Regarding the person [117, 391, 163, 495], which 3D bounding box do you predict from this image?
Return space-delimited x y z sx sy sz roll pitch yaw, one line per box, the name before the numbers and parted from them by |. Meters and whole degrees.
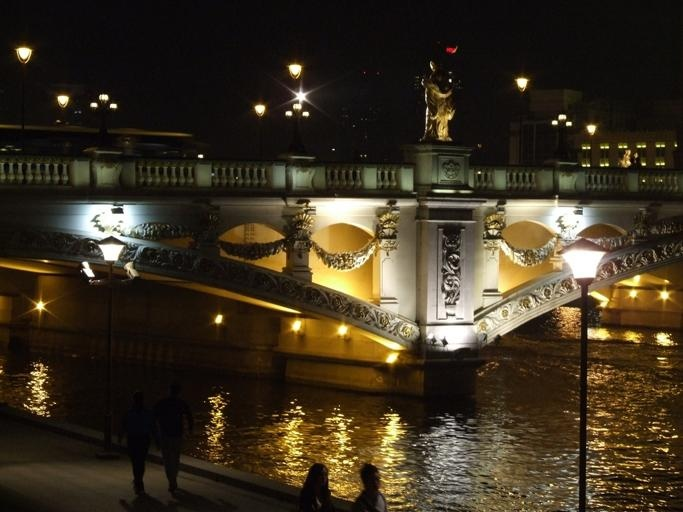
person | -3.632 3.413 16.750 0.468 1.769 0.598 -2 4 -37
